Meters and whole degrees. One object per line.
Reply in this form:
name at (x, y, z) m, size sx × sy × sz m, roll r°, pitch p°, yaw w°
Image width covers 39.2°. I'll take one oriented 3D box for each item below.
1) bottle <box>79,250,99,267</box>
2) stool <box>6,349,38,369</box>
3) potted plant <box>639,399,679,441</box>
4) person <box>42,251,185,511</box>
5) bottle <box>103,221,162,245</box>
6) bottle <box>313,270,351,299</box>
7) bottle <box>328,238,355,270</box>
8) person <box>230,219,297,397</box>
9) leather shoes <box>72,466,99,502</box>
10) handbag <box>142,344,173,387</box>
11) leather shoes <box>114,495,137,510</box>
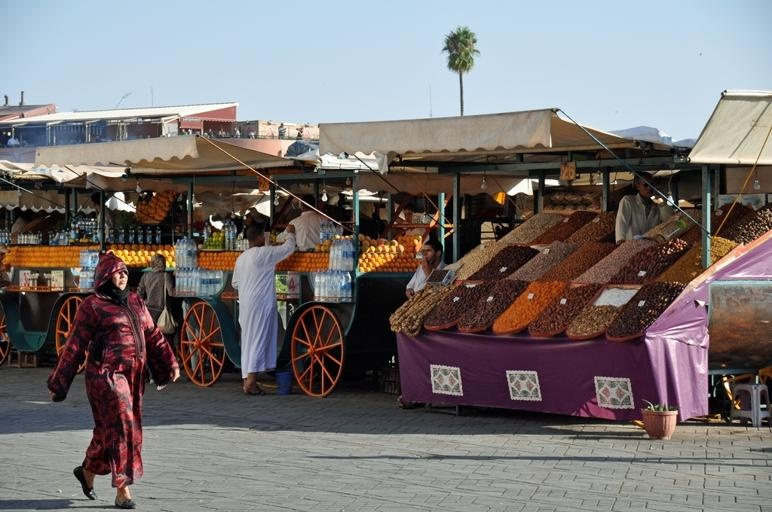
bottle at (-4.427, 0.041, 16.199) m, size 0.266 × 0.217 × 0.134 m, roll 0°, pitch -8°, yaw 11°
stool at (-5.717, 1.654, 17.340) m, size 0.560 × 0.270 × 0.356 m, roll 2°, pitch -6°, yaw 34°
potted plant at (3.053, 1.868, 12.070) m, size 0.416 × 0.297 × 0.389 m, roll 4°, pitch -10°, yaw -14°
person at (-2.597, 1.172, 10.389) m, size 0.755 × 2.359 × 1.043 m, roll 5°, pitch 9°, yaw 37°
bottle at (-3.996, -0.353, 17.018) m, size 1.030 × 0.209 × 0.218 m, roll 3°, pitch -10°, yaw 1°
bottle at (-0.682, 0.380, 14.314) m, size 0.409 × 0.325 × 0.142 m, roll -1°, pitch -4°, yaw 23°
bottle at (-0.575, -0.007, 14.305) m, size 0.423 × 0.594 × 0.381 m, roll 2°, pitch -3°, yaw -6°
person at (-1.626, 0.702, 14.687) m, size 0.750 × 2.263 × 0.530 m, roll -4°, pitch 8°, yaw -21°
leather shoes at (-2.870, 2.164, 10.423) m, size 0.154 × 0.395 × 0.150 m, roll -23°, pitch 8°, yaw 14°
handbag at (-2.208, 1.083, 10.747) m, size 0.338 × 0.383 × 0.163 m, roll 3°, pitch 5°, yaw 3°
leather shoes at (-2.463, 2.297, 10.244) m, size 0.195 × 0.162 × 0.187 m, roll -3°, pitch 7°, yaw -14°
